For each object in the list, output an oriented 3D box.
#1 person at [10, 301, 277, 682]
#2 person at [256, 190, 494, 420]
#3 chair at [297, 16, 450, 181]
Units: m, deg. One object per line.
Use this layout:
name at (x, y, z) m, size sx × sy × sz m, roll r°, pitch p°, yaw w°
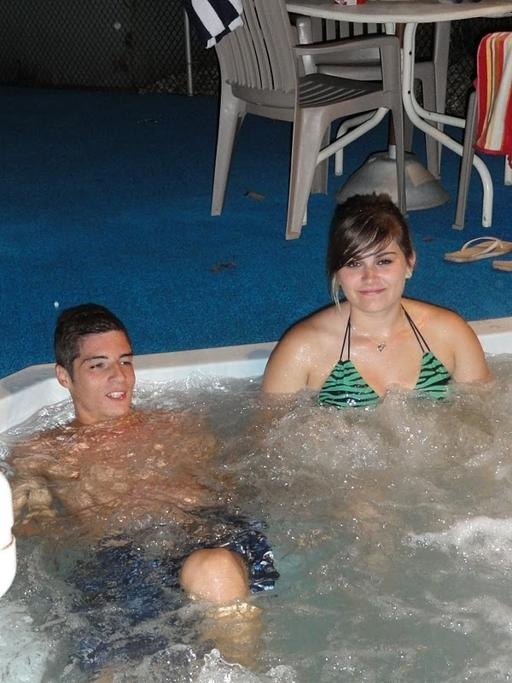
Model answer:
person at (-0.363, 0.315, 1.538) m, size 0.529 × 0.382 × 0.921 m, roll 1°, pitch 32°, yaw -24°
person at (0.425, -0.121, 2.056) m, size 1.076 × 0.835 × 0.398 m, roll -7°, pitch 29°, yaw -6°
chair at (0.689, -1.670, 3.777) m, size 0.974 × 1.196 × 0.939 m, roll -1°, pitch 49°, yaw 7°
